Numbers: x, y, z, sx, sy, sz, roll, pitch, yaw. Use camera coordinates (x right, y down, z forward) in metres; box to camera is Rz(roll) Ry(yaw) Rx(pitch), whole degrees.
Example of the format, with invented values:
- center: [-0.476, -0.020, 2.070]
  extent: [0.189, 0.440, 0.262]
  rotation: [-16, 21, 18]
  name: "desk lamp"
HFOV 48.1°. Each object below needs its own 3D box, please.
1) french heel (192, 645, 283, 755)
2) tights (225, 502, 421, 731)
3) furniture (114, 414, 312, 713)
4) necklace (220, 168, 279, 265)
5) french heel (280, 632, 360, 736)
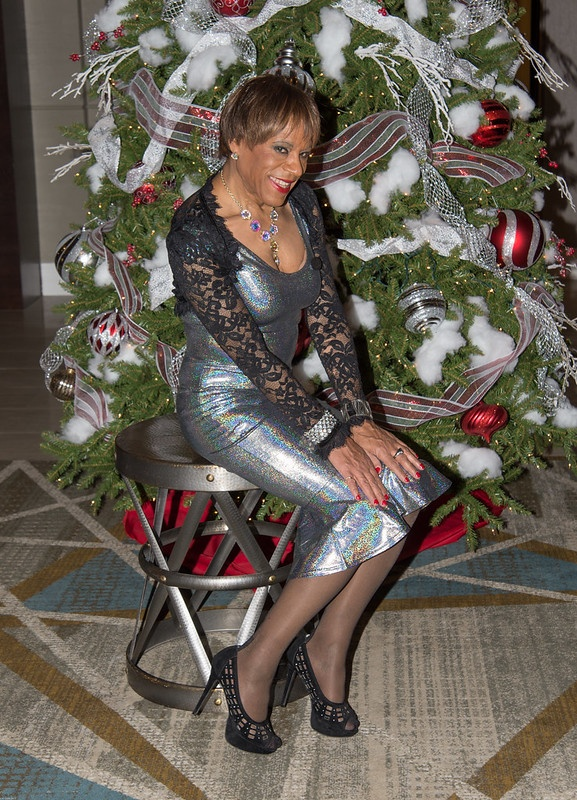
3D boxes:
- center: [-0.082, 0.561, 1.209]
  extent: [0.174, 0.174, 0.066]
  rotation: [27, 21, 20]
  name: "french heel"
- center: [0.069, 0.444, 1.277]
  extent: [0.262, 0.682, 0.151]
  rotation: [7, 33, 4]
  name: "tights"
- center: [-0.128, 0.359, 1.490]
  extent: [0.488, 0.541, 0.450]
  rotation: [2, 5, -4]
  name: "furniture"
- center: [-0.047, -0.323, 1.194]
  extent: [0.014, 0.173, 0.109]
  rotation: [-26, 2, 39]
  name: "necklace"
- center: [0.069, 0.562, 1.271]
  extent: [0.203, 0.137, 0.070]
  rotation: [20, 7, 42]
  name: "french heel"
